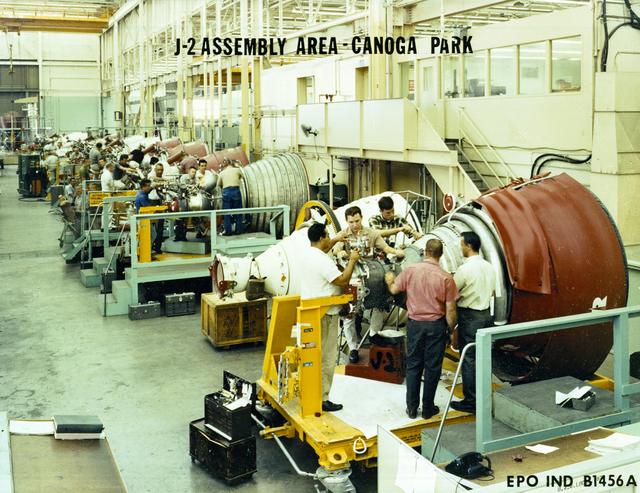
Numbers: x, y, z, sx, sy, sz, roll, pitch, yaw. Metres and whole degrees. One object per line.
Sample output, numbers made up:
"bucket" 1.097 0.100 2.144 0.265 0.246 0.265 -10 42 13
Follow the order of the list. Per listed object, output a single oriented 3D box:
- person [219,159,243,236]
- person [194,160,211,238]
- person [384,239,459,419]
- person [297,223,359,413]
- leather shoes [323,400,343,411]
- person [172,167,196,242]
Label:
"person" -1.824 -1.040 14.809 0.492 1.459 1.476 -3 7 -7
"person" -2.299 -0.892 14.143 0.280 1.631 0.454 -2 -23 5
"person" 1.027 0.813 7.091 0.643 1.731 0.315 -2 6 5
"person" 0.175 0.695 7.389 0.598 1.894 0.733 0 7 22
"leather shoes" 0.134 1.618 7.304 0.189 0.101 0.088 -1 7 -1
"person" -2.631 -0.740 13.770 0.502 0.813 1.424 2 47 -2
